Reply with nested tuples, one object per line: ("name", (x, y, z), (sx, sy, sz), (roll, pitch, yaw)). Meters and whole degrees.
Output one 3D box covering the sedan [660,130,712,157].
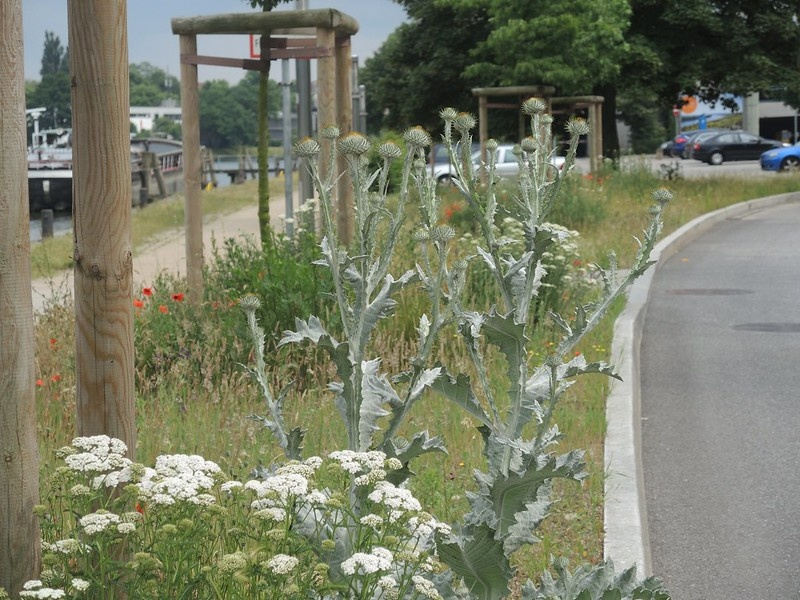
("sedan", (11.947, -6.451, 73.422), (1.157, 1.261, 2.187), (5, 22, 32))
